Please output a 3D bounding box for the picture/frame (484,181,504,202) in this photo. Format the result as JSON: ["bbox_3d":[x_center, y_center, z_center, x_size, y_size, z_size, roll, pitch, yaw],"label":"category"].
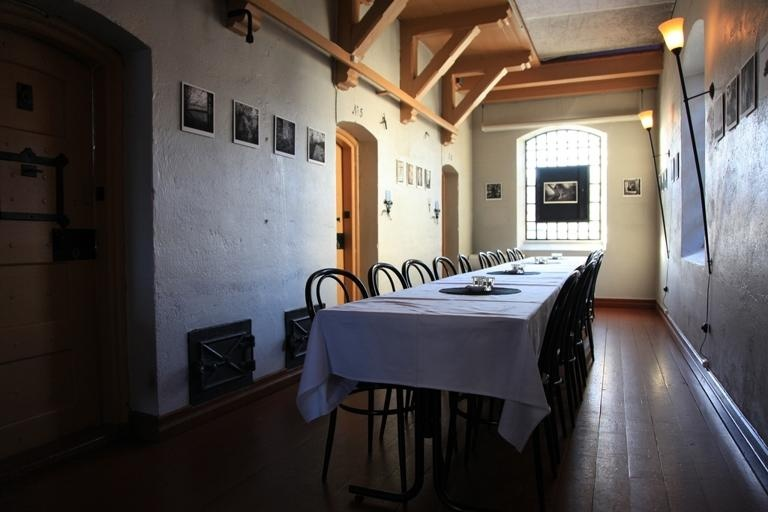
[{"bbox_3d":[2.365,-1.389,10.852,0.383,0.466,0.033,2,4,25],"label":"picture/frame"}]

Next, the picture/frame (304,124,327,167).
[{"bbox_3d":[-0.744,-1.179,5.430,0.032,0.462,0.457,-3,-4,24],"label":"picture/frame"}]

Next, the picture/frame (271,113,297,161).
[{"bbox_3d":[-0.999,-1.175,5.005,0.033,0.498,0.482,-2,-2,24],"label":"picture/frame"}]

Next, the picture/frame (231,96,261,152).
[{"bbox_3d":[-1.266,-1.198,4.597,0.037,0.541,0.492,-3,-4,26],"label":"picture/frame"}]

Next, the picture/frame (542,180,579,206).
[{"bbox_3d":[3.763,-1.348,10.715,0.494,0.398,0.021,1,-3,26],"label":"picture/frame"}]
